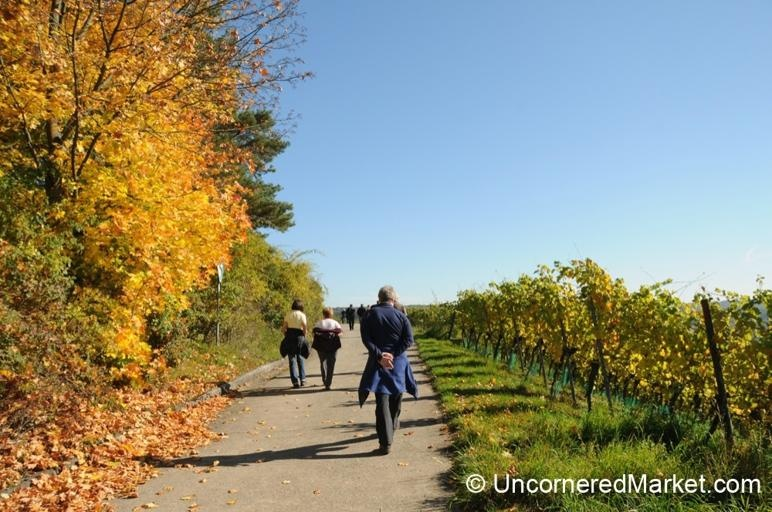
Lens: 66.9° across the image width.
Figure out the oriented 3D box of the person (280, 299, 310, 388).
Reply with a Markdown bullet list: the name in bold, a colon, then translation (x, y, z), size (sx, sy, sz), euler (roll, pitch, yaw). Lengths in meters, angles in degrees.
- **person**: translation (-2.446, 2.335, 15.879), size (0.712, 2.459, 1.282), euler (-3, 5, -9)

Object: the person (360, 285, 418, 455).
- **person**: translation (0.032, 2.062, 10.867), size (0.754, 2.898, 1.011), euler (2, 6, 44)
